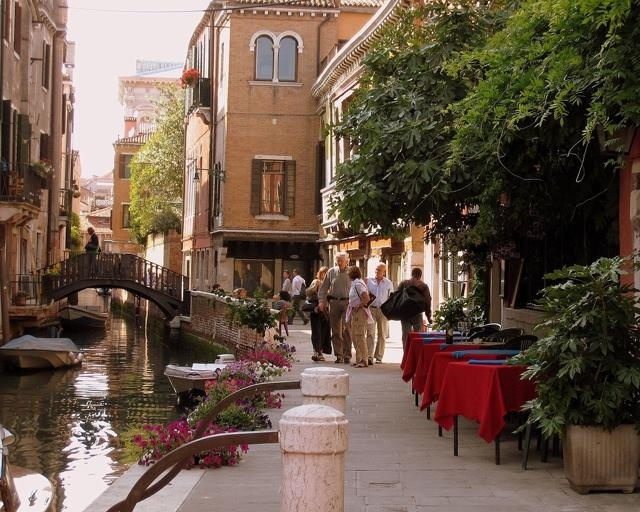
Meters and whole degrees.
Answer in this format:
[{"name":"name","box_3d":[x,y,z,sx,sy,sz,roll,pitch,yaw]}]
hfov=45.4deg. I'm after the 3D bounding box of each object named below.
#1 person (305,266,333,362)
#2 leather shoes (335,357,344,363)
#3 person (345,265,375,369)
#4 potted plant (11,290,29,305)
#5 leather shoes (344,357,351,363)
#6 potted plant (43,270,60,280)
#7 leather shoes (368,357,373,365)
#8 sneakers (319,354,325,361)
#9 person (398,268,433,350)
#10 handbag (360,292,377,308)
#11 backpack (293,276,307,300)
[{"name":"person","box_3d":[-0.015,1.255,17.248,0.636,2.116,0.519,2,0,-38]},{"name":"leather shoes","box_3d":[0.406,2.325,16.842,0.157,0.189,0.109,-11,-23,42]},{"name":"person","box_3d":[0.799,1.286,15.878,0.530,2.091,1.454,0,-3,4]},{"name":"potted plant","box_3d":[-10.933,1.560,27.844,0.515,0.523,0.779,2,-4,-24]},{"name":"leather shoes","box_3d":[0.600,2.341,17.056,0.098,0.130,0.112,2,7,-2]},{"name":"potted plant","box_3d":[-11.616,0.845,33.154,0.520,0.471,0.584,0,-1,26]},{"name":"leather shoes","box_3d":[1.078,2.298,16.655,0.120,0.149,0.097,1,-1,-21]},{"name":"sneakers","box_3d":[0.029,2.328,17.377,0.060,0.157,0.207,1,-12,-7]},{"name":"person","box_3d":[1.818,1.026,15.057,0.657,1.970,0.587,10,34,18]},{"name":"handbag","box_3d":[0.931,0.834,15.484,0.100,0.349,0.301,19,-4,41]},{"name":"backpack","box_3d":[-0.847,1.301,30.169,0.360,0.873,0.793,2,3,26]}]
